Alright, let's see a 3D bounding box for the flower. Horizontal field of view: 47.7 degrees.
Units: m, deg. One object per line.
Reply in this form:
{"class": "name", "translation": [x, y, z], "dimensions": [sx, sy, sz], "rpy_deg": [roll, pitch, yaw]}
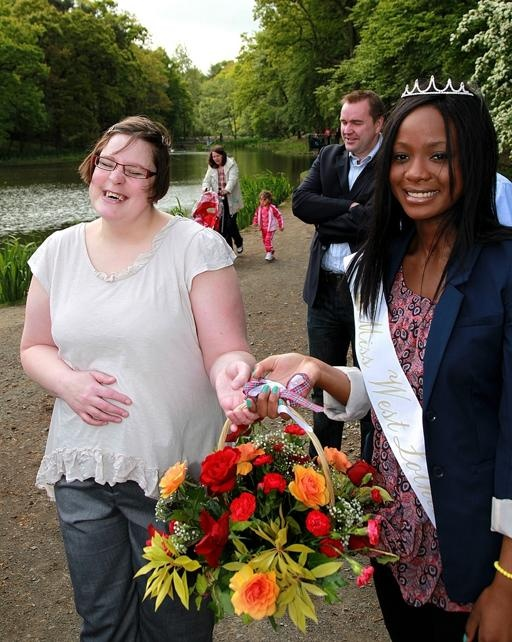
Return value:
{"class": "flower", "translation": [0.021, 0.466, 1.345], "dimensions": [0.629, 0.358, 0.603], "rpy_deg": [-2, 20, 13]}
